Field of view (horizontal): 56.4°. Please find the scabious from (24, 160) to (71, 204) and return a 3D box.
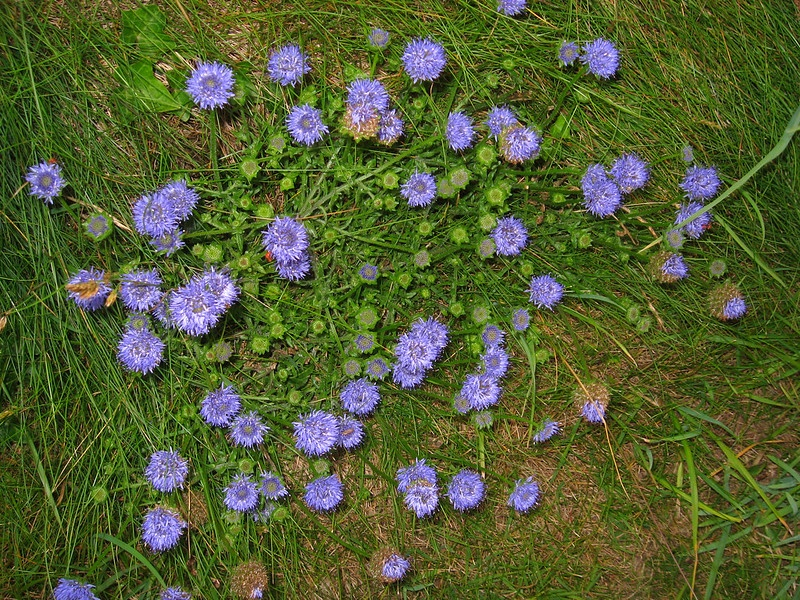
[{"bbox_3d":[-1.614,-0.534,3.394,0.142,0.063,0.194,3,94,-18],"label":"scabious"}]
